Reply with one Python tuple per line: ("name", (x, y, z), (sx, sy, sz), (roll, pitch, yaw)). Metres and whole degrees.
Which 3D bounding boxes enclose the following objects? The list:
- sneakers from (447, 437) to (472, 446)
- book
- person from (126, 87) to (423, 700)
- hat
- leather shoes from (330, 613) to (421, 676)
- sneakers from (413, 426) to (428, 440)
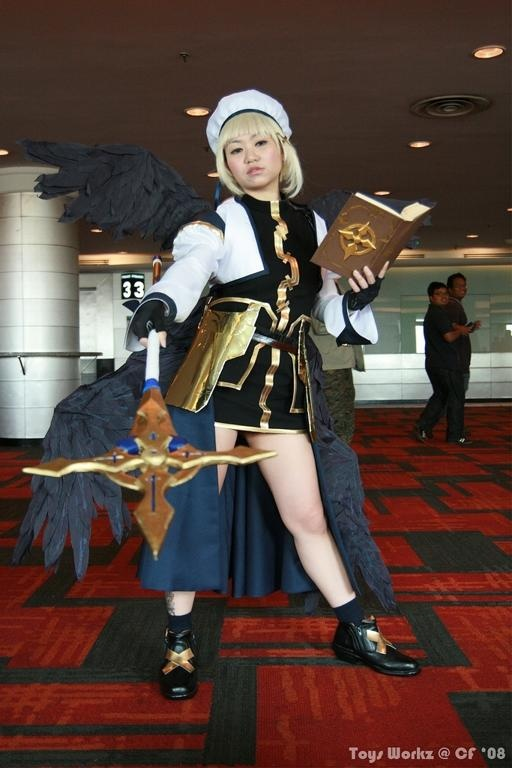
("sneakers", (2.034, 0.580, 5.944), (0.246, 0.090, 0.085), (1, 3, 3))
("book", (0.231, -0.308, 1.237), (0.217, 0.206, 0.079), (27, 6, 4))
("person", (-0.005, 0.020, 1.341), (0.687, 1.342, 0.495), (0, 6, -11))
("hat", (-0.009, -0.616, 1.385), (0.172, 0.048, 0.144), (8, -13, -41))
("leather shoes", (0.292, 0.677, 1.585), (0.249, 0.113, 0.094), (3, 1, 31))
("sneakers", (1.715, 0.553, 6.351), (0.076, 0.135, 0.208), (4, -21, -3))
